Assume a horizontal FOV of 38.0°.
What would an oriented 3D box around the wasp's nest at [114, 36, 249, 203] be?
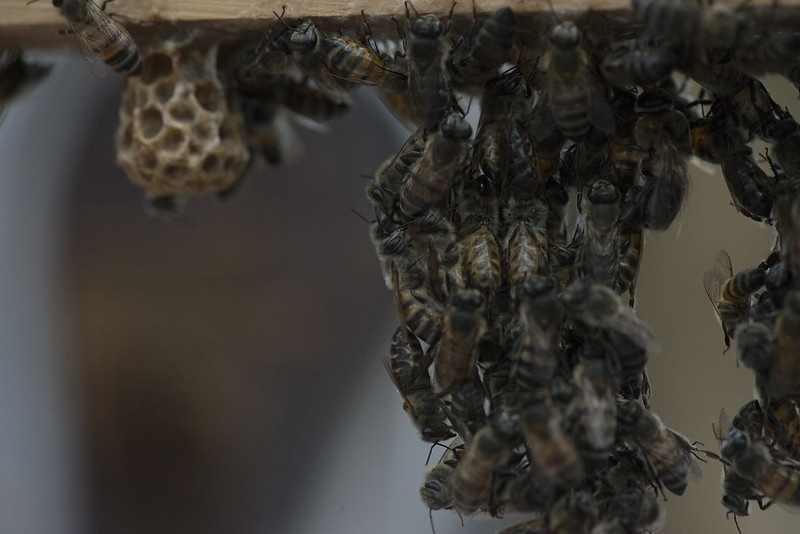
[{"bbox_3d":[-0.964,-0.611,5.079,0.457,0.717,0.256,3,3,3],"label":"wasp's nest"}]
